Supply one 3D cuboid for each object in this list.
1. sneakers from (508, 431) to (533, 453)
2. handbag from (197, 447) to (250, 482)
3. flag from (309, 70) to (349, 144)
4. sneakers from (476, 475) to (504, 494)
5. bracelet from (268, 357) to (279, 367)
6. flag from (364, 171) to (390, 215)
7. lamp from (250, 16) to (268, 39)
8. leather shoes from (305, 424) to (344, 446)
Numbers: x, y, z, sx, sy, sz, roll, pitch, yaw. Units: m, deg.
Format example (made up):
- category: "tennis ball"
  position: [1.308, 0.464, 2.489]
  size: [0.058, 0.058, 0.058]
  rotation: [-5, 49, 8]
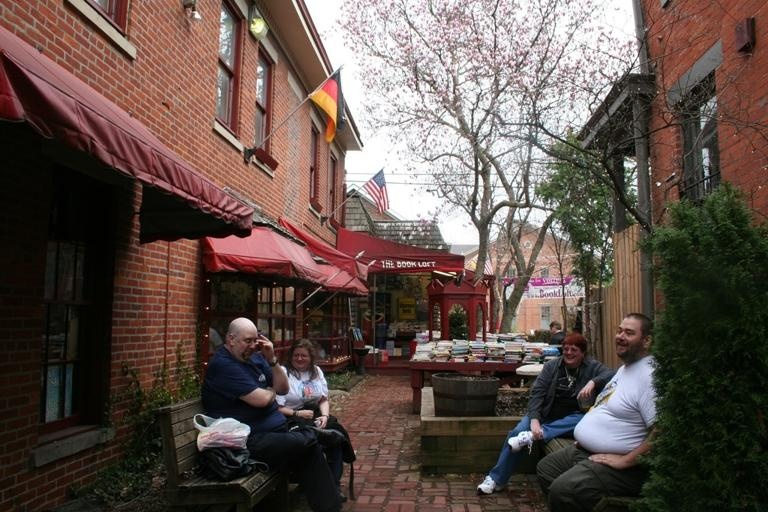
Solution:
- category: "sneakers"
  position: [1.622, 2.208, 6.882]
  size: [0.286, 0.251, 0.232]
  rotation: [0, -9, 12]
- category: "handbag"
  position: [-1.563, 2.068, 5.753]
  size: [0.339, 0.137, 0.338]
  rotation: [6, 0, -23]
- category: "flag"
  position: [-1.106, -3.136, 11.812]
  size: [0.635, 1.278, 1.043]
  rotation: [3, -9, -3]
- category: "sneakers"
  position: [1.266, 2.794, 7.030]
  size: [0.380, 0.175, 0.147]
  rotation: [12, -21, -33]
- category: "bracelet"
  position: [-1.238, 1.208, 6.620]
  size: [0.094, 0.095, 0.095]
  rotation: [1, -5, -10]
- category: "flag"
  position: [-0.229, -2.016, 17.580]
  size: [0.722, 1.261, 1.670]
  rotation: [3, -9, -1]
- category: "lamp"
  position: [-2.354, -4.366, 11.039]
  size: [0.339, 0.471, 0.233]
  rotation: [6, -9, -24]
- category: "leather shoes"
  position: [-0.657, 2.062, 6.621]
  size: [0.541, 0.182, 0.228]
  rotation: [15, -37, -38]
